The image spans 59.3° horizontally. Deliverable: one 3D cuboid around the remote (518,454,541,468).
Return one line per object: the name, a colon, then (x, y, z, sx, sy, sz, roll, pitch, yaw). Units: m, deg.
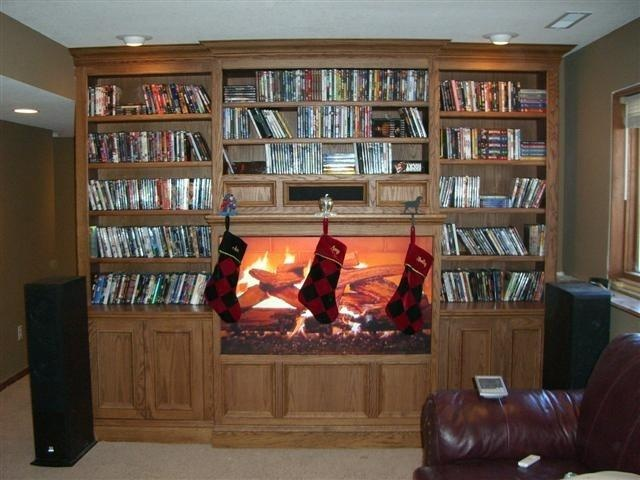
remote: (1.140, 1.205, 3.077, 0.116, 0.018, 0.052, -4, 5, -35)
